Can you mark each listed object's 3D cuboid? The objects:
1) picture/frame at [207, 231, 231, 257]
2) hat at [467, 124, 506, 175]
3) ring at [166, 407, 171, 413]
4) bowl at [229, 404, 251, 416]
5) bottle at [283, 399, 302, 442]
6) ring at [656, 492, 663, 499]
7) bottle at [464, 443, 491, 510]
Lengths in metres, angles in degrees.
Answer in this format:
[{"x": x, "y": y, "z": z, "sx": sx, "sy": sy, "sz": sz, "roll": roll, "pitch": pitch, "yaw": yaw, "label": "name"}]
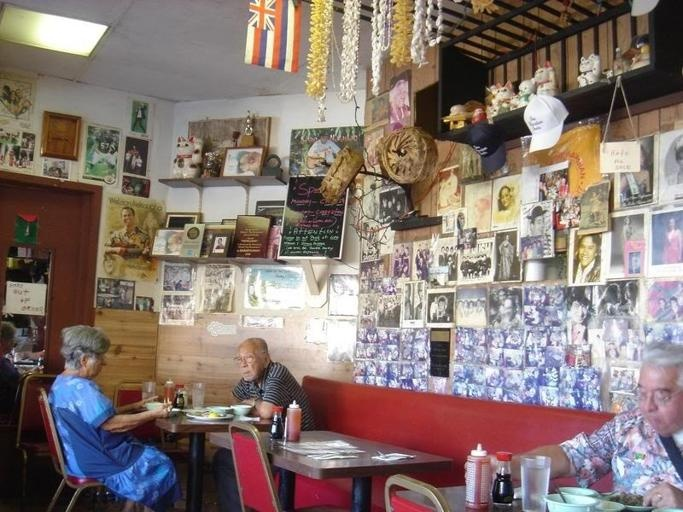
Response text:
[{"x": -1.197, "y": -0.114, "z": 5.391, "sx": 0.261, "sy": 0.324, "sz": 0.023, "roll": -2, "pitch": -28, "yaw": 10, "label": "picture/frame"}, {"x": 0.917, "y": -0.679, "z": 3.425, "sx": 0.198, "sy": 0.110, "sz": 0.306, "roll": -3, "pitch": -50, "yaw": 48, "label": "hat"}, {"x": -1.136, "y": 1.008, "z": 3.593, "sx": 0.008, "sy": 0.028, "sz": 0.028, "roll": 22, "pitch": -15, "yaw": -40, "label": "ring"}, {"x": -0.699, "y": 1.060, "z": 3.795, "sx": 0.101, "sy": 0.047, "sz": 0.103, "roll": 1, "pitch": -7, "yaw": 0, "label": "bowl"}, {"x": -0.277, "y": 0.931, "z": 3.124, "sx": 0.090, "sy": 0.219, "sz": 0.165, "roll": 3, "pitch": -5, "yaw": -5, "label": "bottle"}, {"x": 1.124, "y": 0.844, "z": 1.931, "sx": 0.023, "sy": 0.006, "sz": 0.022, "roll": -2, "pitch": 2, "yaw": 0, "label": "ring"}, {"x": 0.518, "y": 0.829, "z": 2.068, "sx": 0.115, "sy": 0.209, "sz": 0.087, "roll": 7, "pitch": -7, "yaw": -42, "label": "bottle"}]
